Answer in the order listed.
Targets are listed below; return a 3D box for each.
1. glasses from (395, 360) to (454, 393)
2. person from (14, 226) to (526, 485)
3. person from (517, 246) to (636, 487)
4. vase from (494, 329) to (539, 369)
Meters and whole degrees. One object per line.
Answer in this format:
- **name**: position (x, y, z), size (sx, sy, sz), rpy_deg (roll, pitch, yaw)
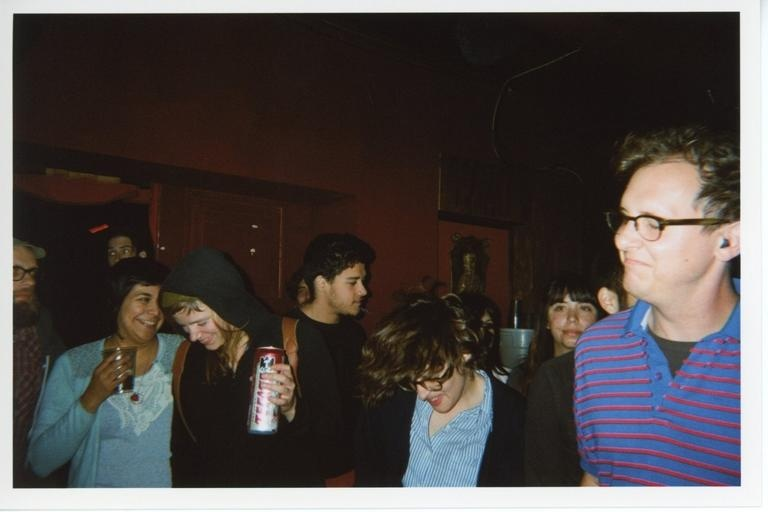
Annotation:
- **glasses**: position (0.199, 0.542, 2.885), size (0.290, 0.161, 0.126), rpy_deg (-6, -15, 2)
- **person**: position (-0.577, 0.476, 2.906), size (1.484, 0.861, 0.332), rpy_deg (2, -13, 3)
- **person**: position (1.058, 0.538, 2.935), size (0.582, 0.980, 0.567), rpy_deg (24, -25, -32)
- **vase**: position (0.589, 0.445, 3.069), size (0.201, 0.209, 0.194), rpy_deg (-1, -8, 6)
